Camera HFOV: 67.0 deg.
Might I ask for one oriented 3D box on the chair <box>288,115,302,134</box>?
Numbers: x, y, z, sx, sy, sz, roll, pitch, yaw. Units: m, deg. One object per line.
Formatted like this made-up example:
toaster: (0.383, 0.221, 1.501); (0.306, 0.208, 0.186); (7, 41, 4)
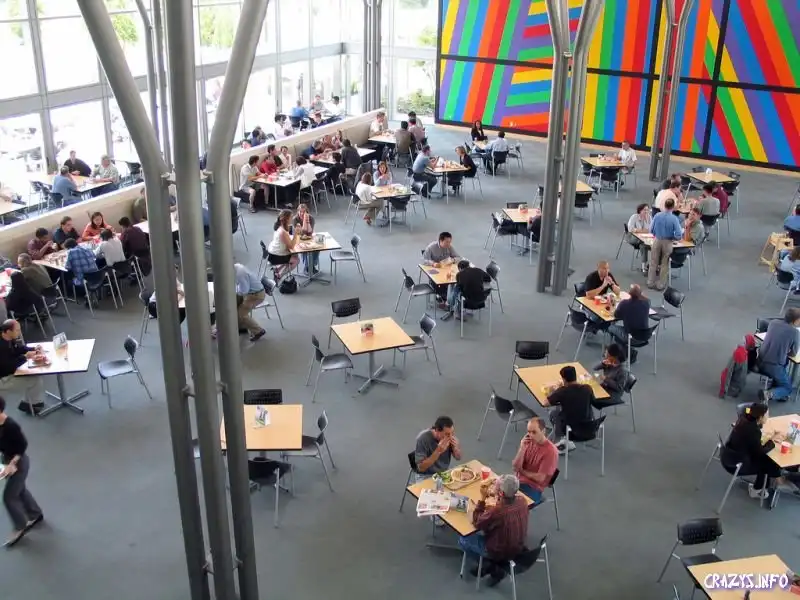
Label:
chair: (-4.004, -6.681, 23.046); (0.475, 0.496, 1.314); (-2, 18, -9)

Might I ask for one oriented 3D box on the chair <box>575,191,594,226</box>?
chair: (5.203, -2.551, 17.147); (0.565, 1.035, 0.772); (3, 54, 12)

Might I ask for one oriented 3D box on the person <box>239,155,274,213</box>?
person: (-4.225, -3.347, 17.636); (0.950, 1.780, 0.852); (7, 36, 6)

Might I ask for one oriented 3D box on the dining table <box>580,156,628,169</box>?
dining table: (6.432, -4.260, 18.994); (1.369, 0.288, 0.957); (-1, 18, -5)

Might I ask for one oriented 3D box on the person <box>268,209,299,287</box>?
person: (-2.637, -1.192, 13.589); (0.666, 1.628, 0.880); (-1, 17, -6)

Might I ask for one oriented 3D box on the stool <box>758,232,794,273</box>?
stool: (9.039, -1.092, 14.513); (0.767, 0.770, 0.699); (-24, 34, -21)

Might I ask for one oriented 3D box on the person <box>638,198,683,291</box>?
person: (5.996, -1.249, 13.722); (0.623, 2.054, 0.581); (12, 21, 32)

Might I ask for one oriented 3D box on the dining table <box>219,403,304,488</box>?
dining table: (-1.746, 1.779, 8.348); (1.147, 0.733, 1.162); (1, 35, -5)

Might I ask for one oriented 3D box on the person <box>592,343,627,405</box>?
person: (3.290, 1.199, 9.393); (0.514, 1.020, 0.633); (6, 18, 17)

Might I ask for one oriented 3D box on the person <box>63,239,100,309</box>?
person: (-6.581, -0.511, 12.555); (0.624, 1.492, 0.917); (-10, 20, -31)

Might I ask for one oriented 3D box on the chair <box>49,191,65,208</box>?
chair: (-9.060, -2.614, 15.992); (0.259, 0.437, 0.513); (-15, 24, -41)

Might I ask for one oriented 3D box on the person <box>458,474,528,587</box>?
person: (1.111, 2.691, 7.102); (0.725, 1.373, 0.569); (6, 10, 35)

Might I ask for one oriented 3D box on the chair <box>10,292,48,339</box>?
chair: (-6.946, 0.307, 11.288); (0.548, 0.931, 0.509); (19, 25, 37)

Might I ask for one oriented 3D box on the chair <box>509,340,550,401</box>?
chair: (2.202, 1.213, 10.251); (0.625, 1.142, 0.689); (-2, -19, 26)

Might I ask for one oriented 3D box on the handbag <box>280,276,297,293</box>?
handbag: (-2.532, -0.326, 13.706); (0.399, 0.419, 0.257); (-23, 39, -36)

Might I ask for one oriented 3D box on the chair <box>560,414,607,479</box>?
chair: (2.722, 2.082, 9.002); (0.552, 0.936, 0.632); (-5, 10, 1)

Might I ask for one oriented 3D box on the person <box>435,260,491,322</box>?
person: (1.332, -0.183, 12.480); (0.678, 1.403, 1.105); (-10, 30, -29)

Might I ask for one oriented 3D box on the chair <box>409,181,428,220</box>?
chair: (0.543, -2.914, 17.933); (0.671, 1.173, 0.715); (-7, 40, -12)

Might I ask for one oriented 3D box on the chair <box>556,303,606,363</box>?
chair: (3.523, 0.588, 11.567); (0.671, 1.036, 0.688); (-3, 23, -7)

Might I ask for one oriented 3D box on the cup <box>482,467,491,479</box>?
cup: (1.085, 2.181, 7.603); (0.111, 0.117, 0.103); (-5, 34, 3)

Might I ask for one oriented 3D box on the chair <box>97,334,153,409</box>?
chair: (-4.710, 1.222, 10.344); (0.794, 1.021, 0.624); (-14, 26, -42)

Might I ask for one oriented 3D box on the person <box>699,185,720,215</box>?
person: (8.030, -2.551, 15.635); (0.439, 0.796, 0.864); (14, 22, 36)

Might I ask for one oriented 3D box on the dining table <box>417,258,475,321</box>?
dining table: (0.881, -0.358, 12.836); (1.046, 1.099, 1.162); (-14, 48, -14)

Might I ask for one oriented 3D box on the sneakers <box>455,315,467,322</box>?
sneakers: (1.322, 0.393, 12.705); (0.085, 0.115, 0.259); (-9, 16, -23)

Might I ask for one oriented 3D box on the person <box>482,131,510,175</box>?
person: (3.306, -5.032, 20.659); (0.645, 1.573, 0.897); (-4, 33, -7)

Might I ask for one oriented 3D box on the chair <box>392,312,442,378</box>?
chair: (0.363, 0.803, 11.043); (0.725, 0.976, 0.737); (-14, 26, -37)

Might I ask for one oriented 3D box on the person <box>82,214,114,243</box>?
person: (-6.778, -1.561, 13.496); (0.501, 0.747, 0.548); (44, 38, 23)

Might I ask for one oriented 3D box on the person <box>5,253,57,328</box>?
person: (-7.065, -0.125, 11.576); (0.765, 1.373, 0.595); (36, 42, 15)

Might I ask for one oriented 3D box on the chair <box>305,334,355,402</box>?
chair: (-1.201, 1.166, 10.465); (0.840, 0.972, 0.798); (3, 20, -2)

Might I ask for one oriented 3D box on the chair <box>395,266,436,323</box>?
chair: (0.432, 0.014, 13.195); (0.789, 1.073, 0.754); (6, 0, 22)

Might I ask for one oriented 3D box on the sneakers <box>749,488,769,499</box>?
sneakers: (5.141, 2.780, 8.682); (0.208, 0.140, 0.076); (-1, 1, 30)

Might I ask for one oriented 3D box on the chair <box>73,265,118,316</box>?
chair: (-6.413, -0.188, 12.680); (0.496, 0.867, 0.589); (-21, 53, -32)

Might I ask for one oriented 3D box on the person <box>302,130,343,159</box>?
person: (-2.540, -4.954, 19.576); (1.432, 0.484, 0.581); (-28, 29, -2)

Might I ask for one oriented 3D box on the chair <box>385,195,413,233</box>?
chair: (-0.040, -2.517, 16.898); (0.562, 0.988, 1.700); (0, 18, -1)

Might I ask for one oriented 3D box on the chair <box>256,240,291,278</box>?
chair: (-2.835, -0.876, 13.726); (0.543, 0.858, 0.575); (-8, 39, -12)
